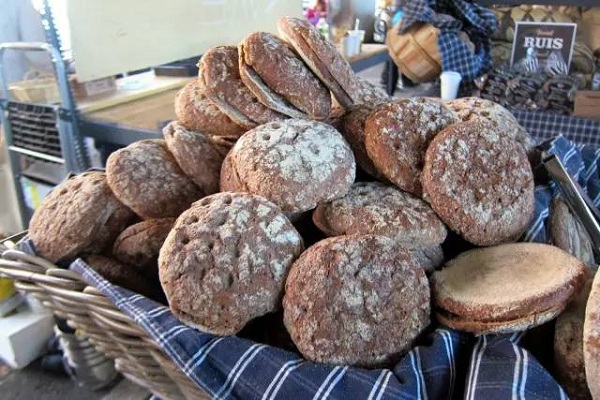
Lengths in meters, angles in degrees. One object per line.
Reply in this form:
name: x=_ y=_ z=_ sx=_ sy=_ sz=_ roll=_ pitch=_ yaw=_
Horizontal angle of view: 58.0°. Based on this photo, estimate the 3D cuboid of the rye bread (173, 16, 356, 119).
rye bread: x=-0.088 y=-0.424 z=2.033 sx=0.480 sy=0.164 sz=0.392 roll=27 pitch=53 yaw=-17

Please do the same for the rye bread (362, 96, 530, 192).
rye bread: x=0.458 y=-0.214 z=1.961 sx=0.391 sy=0.120 sz=0.379 roll=7 pitch=57 yaw=-7

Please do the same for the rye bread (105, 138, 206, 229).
rye bread: x=-0.577 y=-0.099 z=2.093 sx=0.333 sy=0.357 sz=0.089 roll=-1 pitch=59 yaw=-16

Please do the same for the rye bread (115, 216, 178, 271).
rye bread: x=-0.586 y=0.159 z=2.098 sx=0.183 sy=0.224 sz=0.116 roll=-2 pitch=66 yaw=-39

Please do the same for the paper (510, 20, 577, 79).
paper: x=1.270 y=-0.781 z=2.796 sx=0.275 sy=0.299 sz=0.015 roll=10 pitch=17 yaw=27

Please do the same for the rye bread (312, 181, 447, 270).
rye bread: x=0.280 y=0.024 z=2.032 sx=0.457 sy=0.160 sz=0.428 roll=7 pitch=24 yaw=43

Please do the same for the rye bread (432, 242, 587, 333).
rye bread: x=0.734 y=0.300 z=1.885 sx=0.517 sy=0.157 sz=0.492 roll=-25 pitch=15 yaw=-38

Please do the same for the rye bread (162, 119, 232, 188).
rye bread: x=-0.400 y=-0.130 z=2.059 sx=0.239 sy=0.072 sz=0.261 roll=31 pitch=55 yaw=6

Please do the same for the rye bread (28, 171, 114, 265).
rye bread: x=-0.880 y=0.078 z=2.052 sx=0.324 sy=0.115 sz=0.321 roll=-41 pitch=39 yaw=10
